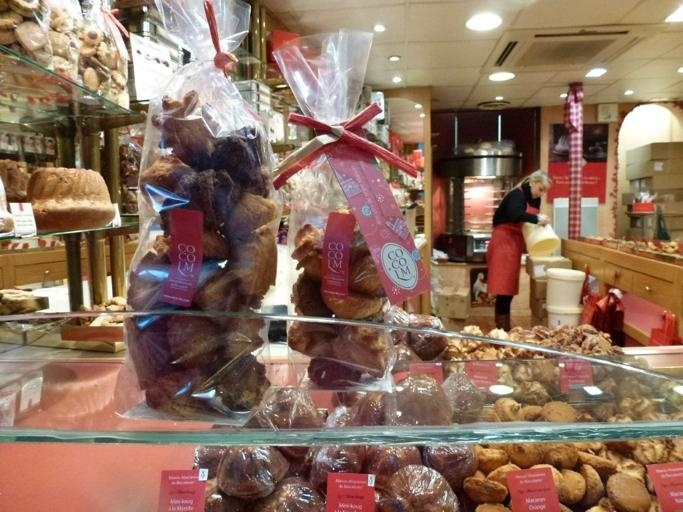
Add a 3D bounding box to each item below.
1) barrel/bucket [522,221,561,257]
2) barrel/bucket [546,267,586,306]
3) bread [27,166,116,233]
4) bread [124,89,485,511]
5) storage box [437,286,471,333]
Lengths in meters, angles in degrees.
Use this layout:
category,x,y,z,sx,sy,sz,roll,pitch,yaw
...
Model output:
category,x,y,z,sx,sy,sz,roll,pitch,yaw
barrel/bucket,1.573,-0.119,4.000,0.238,0.275,0.343,3,13,12
barrel/bucket,1.827,0.246,4.226,0.306,0.308,0.302,0,3,0
bread,-0.606,-0.120,1.166,0.155,0.108,0.158,-8,-10,31
bread,-0.048,0.100,0.856,0.579,0.696,0.279,1,13,6
storage box,1.200,0.521,5.261,0.354,0.346,0.339,0,3,28
